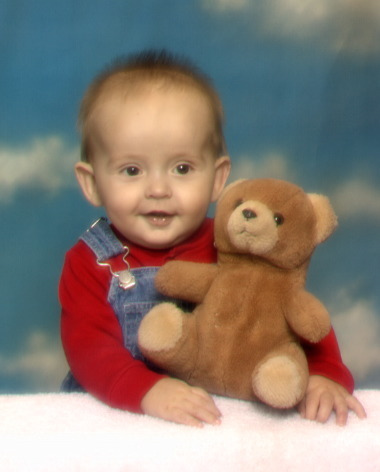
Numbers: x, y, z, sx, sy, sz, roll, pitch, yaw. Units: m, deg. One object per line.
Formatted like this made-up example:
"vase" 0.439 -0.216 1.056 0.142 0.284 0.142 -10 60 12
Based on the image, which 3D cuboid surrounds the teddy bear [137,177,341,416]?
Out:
"teddy bear" 0.089 0.093 1.028 0.324 0.343 0.224 7 10 33
